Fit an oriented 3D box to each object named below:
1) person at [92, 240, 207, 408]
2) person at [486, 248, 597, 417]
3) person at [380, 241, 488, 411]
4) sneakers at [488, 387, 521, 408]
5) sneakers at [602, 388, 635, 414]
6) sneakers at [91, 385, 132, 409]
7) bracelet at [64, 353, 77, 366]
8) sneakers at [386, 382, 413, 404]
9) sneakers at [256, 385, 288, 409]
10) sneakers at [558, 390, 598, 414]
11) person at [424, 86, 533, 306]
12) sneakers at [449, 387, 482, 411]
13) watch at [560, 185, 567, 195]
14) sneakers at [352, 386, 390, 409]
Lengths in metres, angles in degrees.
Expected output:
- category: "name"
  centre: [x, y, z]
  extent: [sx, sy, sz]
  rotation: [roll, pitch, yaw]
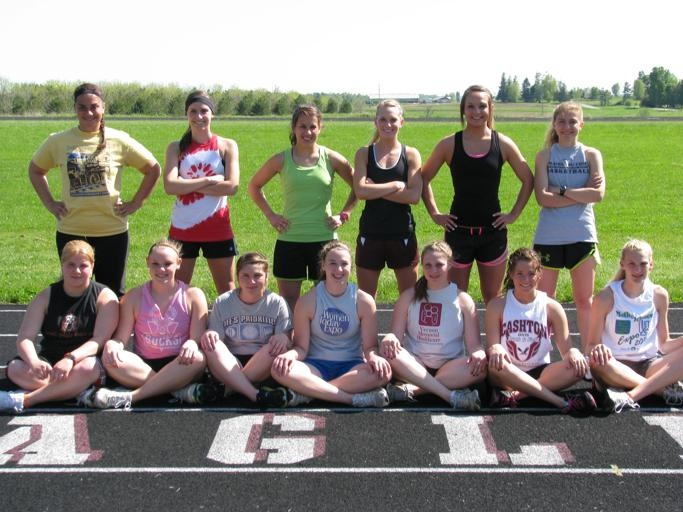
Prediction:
- category: "person"
  centre: [-1.881, 0.639, 6.331]
  extent: [1.103, 1.550, 1.363]
  rotation: [1, 1, 28]
- category: "person"
  centre: [1.813, 0.706, 6.265]
  extent: [1.001, 1.457, 1.246]
  rotation: [1, 3, -5]
- category: "person"
  centre: [0.941, 0.795, 6.442]
  extent: [1.027, 1.111, 0.810]
  rotation: [5, 16, 14]
- category: "sneakers"
  centre: [1.555, 1.359, 6.186]
  extent: [0.268, 0.146, 0.105]
  rotation: [3, -2, -13]
- category: "sneakers"
  centre: [2.630, 1.342, 6.099]
  extent: [0.389, 0.189, 0.123]
  rotation: [-4, 17, -18]
- category: "sneakers"
  centre: [-2.162, 1.345, 6.112]
  extent: [0.302, 0.175, 0.138]
  rotation: [-13, 5, -13]
- category: "bracelet"
  centre: [-2.592, 0.970, 6.210]
  extent: [0.041, 0.104, 0.103]
  rotation: [-34, -2, -22]
- category: "sneakers"
  centre: [0.567, 1.348, 6.308]
  extent: [0.148, 0.127, 0.341]
  rotation: [-2, 10, -8]
- category: "sneakers"
  centre: [-0.663, 1.343, 6.224]
  extent: [0.280, 0.171, 0.134]
  rotation: [-2, 9, -5]
- category: "sneakers"
  centre: [2.233, 1.369, 6.120]
  extent: [0.157, 0.154, 0.370]
  rotation: [3, -9, -32]
- category: "person"
  centre: [1.507, -0.347, 7.364]
  extent: [1.222, 2.979, 0.913]
  rotation: [-2, 23, 11]
- category: "sneakers"
  centre: [1.174, 1.353, 6.119]
  extent: [0.165, 0.141, 0.361]
  rotation: [6, -12, -37]
- category: "watch"
  centre: [2.409, -0.722, 7.065]
  extent: [0.060, 0.089, 0.099]
  rotation: [3, 39, 3]
- category: "sneakers"
  centre: [0.272, 1.339, 6.179]
  extent: [0.399, 0.195, 0.152]
  rotation: [2, -1, -1]
